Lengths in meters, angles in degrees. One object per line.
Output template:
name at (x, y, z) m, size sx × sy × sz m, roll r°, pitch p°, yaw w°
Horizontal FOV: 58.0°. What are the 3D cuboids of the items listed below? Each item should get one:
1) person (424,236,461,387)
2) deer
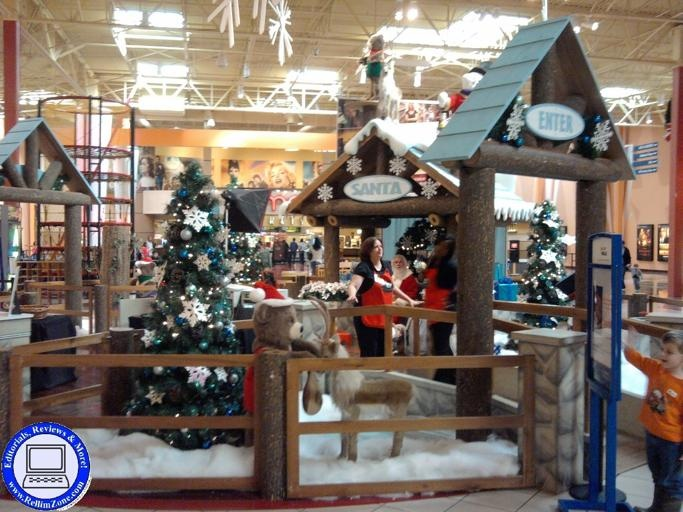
person at (1.056, 0.620, 6.635) m, size 0.314 × 1.614 × 0.719 m, roll -1°, pitch -2°, yaw 7°
deer at (0.138, 1.109, 4.803) m, size 0.857 × 0.963 × 0.419 m, roll 0°, pitch -2°, yaw 1°
